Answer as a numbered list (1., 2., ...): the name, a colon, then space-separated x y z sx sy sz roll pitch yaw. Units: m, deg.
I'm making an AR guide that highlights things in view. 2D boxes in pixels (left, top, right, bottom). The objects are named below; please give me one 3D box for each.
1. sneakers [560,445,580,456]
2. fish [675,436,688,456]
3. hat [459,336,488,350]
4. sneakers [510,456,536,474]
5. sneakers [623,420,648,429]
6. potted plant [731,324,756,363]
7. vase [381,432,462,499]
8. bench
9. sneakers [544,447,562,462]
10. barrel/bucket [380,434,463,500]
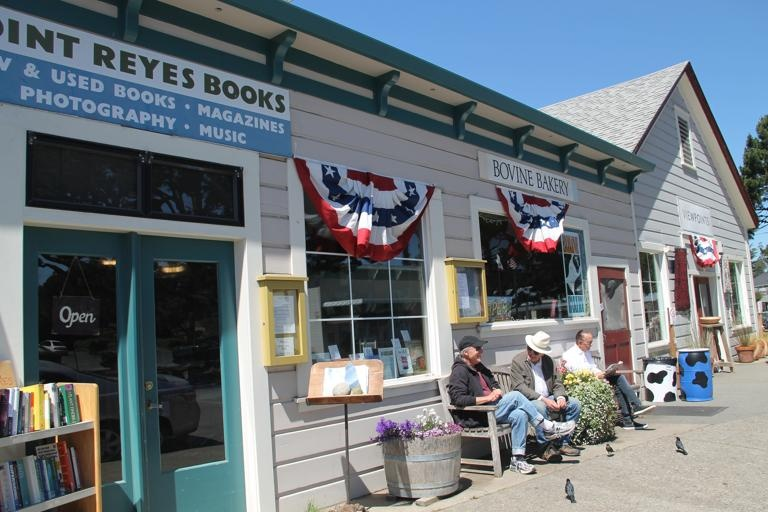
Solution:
1. sneakers: 2.593 2.712 8.059 0.248 0.105 0.117 -7 -10 32
2. fish: 4.063 2.604 7.880 0.085 0.234 0.083 -41 8 -35
3. hat: 1.213 1.175 7.879 0.315 0.150 0.200 -5 -5 -1
4. sneakers: 1.779 2.722 7.545 0.160 0.185 0.357 6 -10 -43
5. sneakers: 4.059 2.739 9.426 0.432 0.197 0.147 -3 -9 7
6. potted plant: 10.809 2.666 17.270 0.533 0.970 1.091 -10 -10 31
7. vase: 0.453 2.440 6.894 0.776 0.508 0.790 -4 -16 9
8. bench: 1.622 1.964 7.721 1.501 1.669 0.861 -7 -4 35
9. sneakers: 2.309 2.723 7.907 0.135 0.129 0.296 -3 -6 12
10. barrel/bucket: 0.445 2.465 6.925 0.780 0.498 0.787 -1 -15 0
